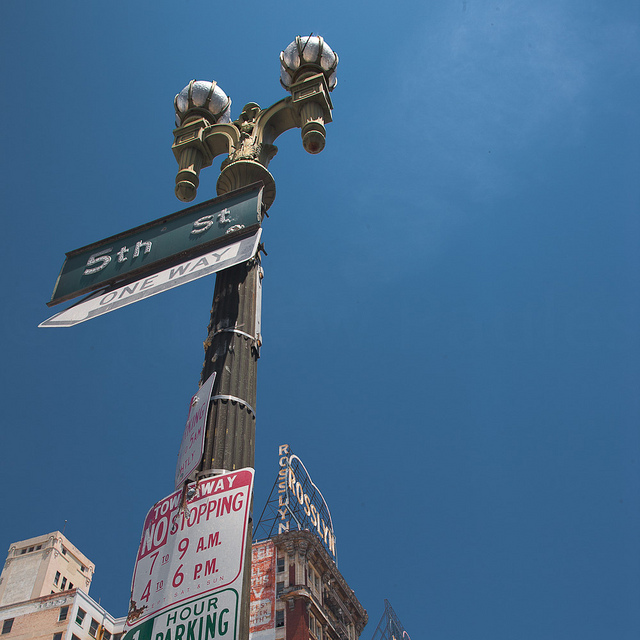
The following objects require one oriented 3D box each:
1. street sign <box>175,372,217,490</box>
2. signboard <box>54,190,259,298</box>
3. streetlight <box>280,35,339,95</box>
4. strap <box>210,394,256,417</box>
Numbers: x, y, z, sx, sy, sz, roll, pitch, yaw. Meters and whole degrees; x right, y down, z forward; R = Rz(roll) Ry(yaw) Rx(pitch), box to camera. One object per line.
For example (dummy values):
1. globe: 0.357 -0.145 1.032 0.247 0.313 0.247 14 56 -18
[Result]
1. street sign: -2.481 2.217 18.000 0.133 2.387 1.047 29 -50 -23
2. signboard: -3.725 -1.714 20.753 5.387 2.217 0.233 -19 -58 13
3. streetlight: -0.350 -7.137 25.086 1.544 1.041 1.042 -8 -53 8
4. strap: -1.842 1.762 18.993 0.996 0.373 0.206 25 -53 -14
